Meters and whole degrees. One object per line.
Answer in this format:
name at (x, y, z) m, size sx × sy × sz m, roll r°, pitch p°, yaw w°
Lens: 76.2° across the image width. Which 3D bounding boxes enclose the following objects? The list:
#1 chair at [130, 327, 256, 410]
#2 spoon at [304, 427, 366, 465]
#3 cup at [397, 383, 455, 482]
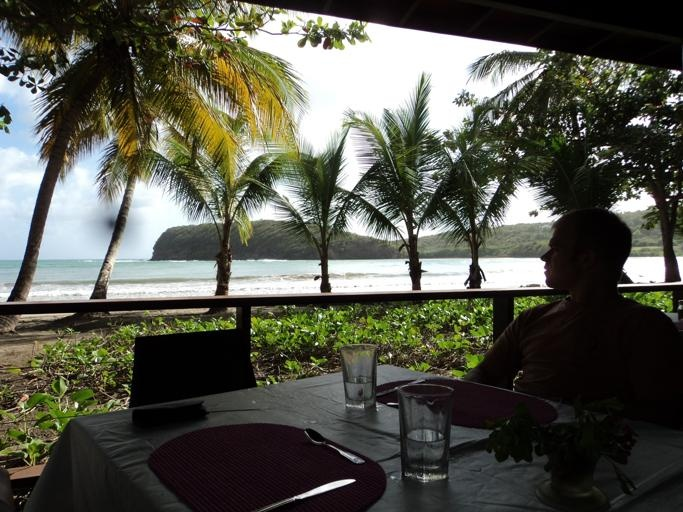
chair at (-0.597, 0.430, 1.775) m, size 0.516 × 0.309 × 0.258 m, roll 3°, pitch -12°, yaw -31°
spoon at (-0.017, 0.413, 0.993) m, size 0.045 × 0.023 × 0.190 m, roll 6°, pitch -4°, yaw -29°
cup at (0.169, 0.353, 0.877) m, size 0.103 × 0.185 × 0.073 m, roll -1°, pitch -2°, yaw 10°
